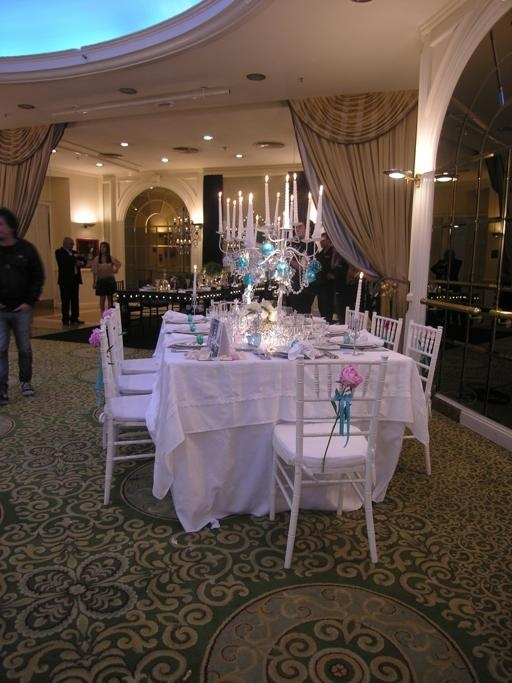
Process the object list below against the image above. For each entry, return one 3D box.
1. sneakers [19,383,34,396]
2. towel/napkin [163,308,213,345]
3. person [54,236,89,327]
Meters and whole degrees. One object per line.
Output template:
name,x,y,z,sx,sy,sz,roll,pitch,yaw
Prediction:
sneakers,-2.140,0.445,4.401,0.076,0.081,0.191,-1,3,-20
towel/napkin,-0.472,-0.099,3.238,0.258,0.096,0.326,1,14,-9
person,-3.641,-1.208,9.300,0.495,1.677,1.523,-2,9,-22
